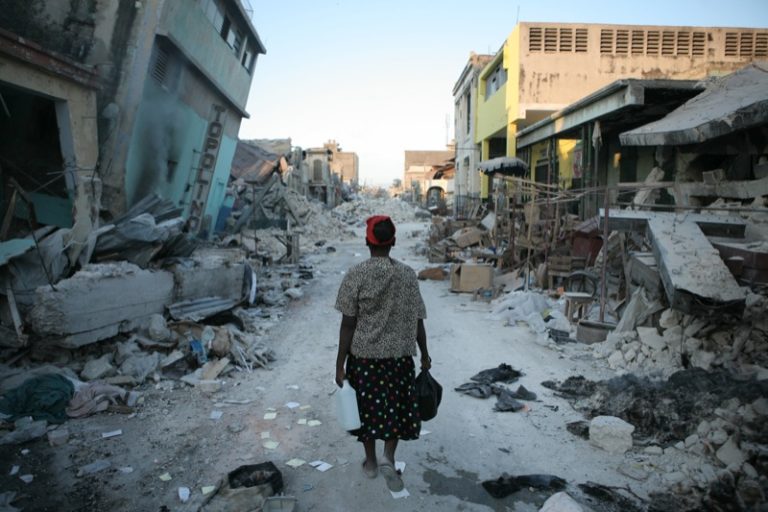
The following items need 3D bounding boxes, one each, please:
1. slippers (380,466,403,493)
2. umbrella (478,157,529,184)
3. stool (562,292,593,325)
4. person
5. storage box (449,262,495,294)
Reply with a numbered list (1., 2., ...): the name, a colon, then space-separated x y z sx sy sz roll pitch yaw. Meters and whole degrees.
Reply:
1. slippers: 0.103 2.142 4.126 0.161 0.326 0.129 -17 23 36
2. umbrella: 4.916 -3.635 17.219 1.694 0.766 2.440 6 15 26
3. stool: 3.728 1.000 8.263 0.569 0.662 0.568 -1 1 -6
4. person: -0.013 0.927 4.176 0.833 2.566 0.763 5 16 22
5. storage box: 2.246 0.577 10.869 1.115 0.720 0.799 5 15 19
